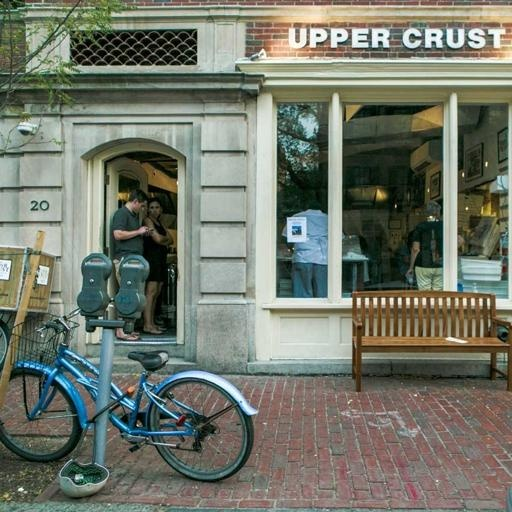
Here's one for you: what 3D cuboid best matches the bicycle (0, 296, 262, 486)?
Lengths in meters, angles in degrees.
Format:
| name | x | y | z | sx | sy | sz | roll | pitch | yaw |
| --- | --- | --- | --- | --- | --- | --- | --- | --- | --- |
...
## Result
| name | x | y | z | sx | sy | sz | roll | pitch | yaw |
| --- | --- | --- | --- | --- | --- | --- | --- | --- | --- |
| bicycle | -0.990 | 1.144 | 5.820 | 2.184 | 1.229 | 1.040 | 3 | 0 | 9 |

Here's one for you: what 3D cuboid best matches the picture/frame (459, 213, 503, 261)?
| name | x | y | z | sx | sy | sz | roll | pitch | yaw |
| --- | --- | --- | --- | --- | --- | --- | --- | --- | --- |
| picture/frame | 2.924 | -0.233 | 8.742 | 0.162 | 0.558 | 0.530 | 25 | -14 | -38 |

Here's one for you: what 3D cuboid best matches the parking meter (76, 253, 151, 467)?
| name | x | y | z | sx | sy | sz | roll | pitch | yaw |
| --- | --- | --- | --- | --- | --- | --- | --- | --- | --- |
| parking meter | -1.114 | 0.850 | 5.347 | 0.521 | 1.755 | 0.463 | -4 | 8 | -24 |

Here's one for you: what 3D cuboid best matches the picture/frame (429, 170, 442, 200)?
| name | x | y | z | sx | sy | sz | roll | pitch | yaw |
| --- | --- | --- | --- | --- | --- | --- | --- | --- | --- |
| picture/frame | 2.319 | -0.907 | 8.709 | 0.158 | 0.362 | 0.095 | 2 | 8 | 14 |

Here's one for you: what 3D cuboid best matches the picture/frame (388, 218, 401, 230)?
| name | x | y | z | sx | sy | sz | roll | pitch | yaw |
| --- | --- | --- | --- | --- | --- | --- | --- | --- | --- |
| picture/frame | 1.801 | -0.406 | 8.677 | 0.146 | 0.142 | 0.035 | 3 | -1 | 0 |

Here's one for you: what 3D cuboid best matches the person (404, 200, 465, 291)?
| name | x | y | z | sx | sy | sz | roll | pitch | yaw |
| --- | --- | --- | --- | --- | --- | --- | --- | --- | --- |
| person | 2.181 | -0.133 | 8.694 | 0.455 | 1.116 | 0.174 | 2 | 8 | 13 |

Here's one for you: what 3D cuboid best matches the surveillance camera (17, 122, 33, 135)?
| name | x | y | z | sx | sy | sz | roll | pitch | yaw |
| --- | --- | --- | --- | --- | --- | --- | --- | --- | --- |
| surveillance camera | -2.840 | -1.570 | 8.329 | 0.182 | 0.173 | 0.168 | -3 | 8 | -19 |

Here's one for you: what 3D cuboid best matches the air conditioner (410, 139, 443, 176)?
| name | x | y | z | sx | sy | sz | roll | pitch | yaw |
| --- | --- | --- | --- | --- | --- | --- | --- | --- | --- |
| air conditioner | 2.225 | -1.267 | 8.739 | 0.353 | 0.296 | 0.521 | 13 | -23 | -34 |

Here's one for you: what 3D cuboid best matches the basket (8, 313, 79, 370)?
| name | x | y | z | sx | sy | sz | roll | pitch | yaw |
| --- | --- | --- | --- | --- | --- | --- | --- | --- | --- |
| basket | -2.009 | 0.797 | 6.287 | 0.582 | 0.558 | 0.623 | 11 | 3 | 0 |

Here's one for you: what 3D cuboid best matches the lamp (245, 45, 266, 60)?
| name | x | y | z | sx | sy | sz | roll | pitch | yaw |
| --- | --- | --- | --- | --- | --- | --- | --- | --- | --- |
| lamp | 0.011 | -2.507 | 8.360 | 0.197 | 0.082 | 0.158 | 0 | 6 | 9 |
